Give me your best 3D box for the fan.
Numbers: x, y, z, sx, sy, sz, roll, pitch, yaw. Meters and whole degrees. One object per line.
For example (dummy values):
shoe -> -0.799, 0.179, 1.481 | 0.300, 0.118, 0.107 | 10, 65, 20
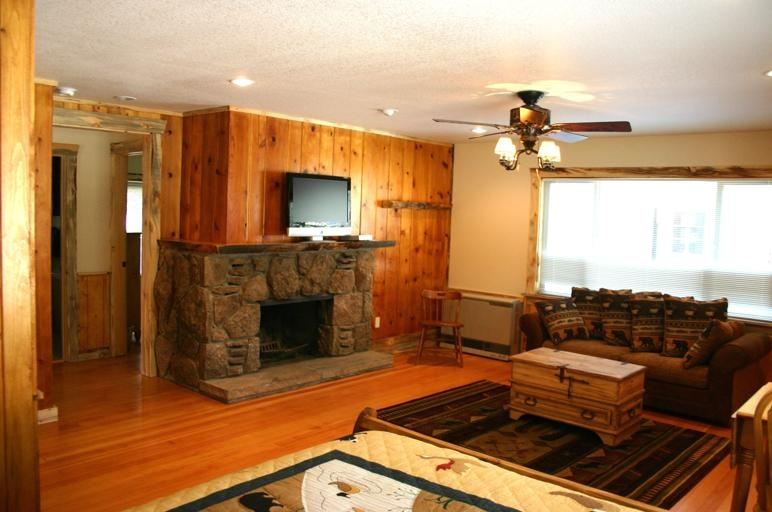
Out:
fan -> 1.330, -1.190, 4.702 | 1.546, 0.383, 1.591 | 7, 6, 22

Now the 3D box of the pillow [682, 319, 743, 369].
pillow -> 3.318, 0.907, 5.450 | 0.608, 0.369, 0.293 | 7, 5, -40

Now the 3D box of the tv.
tv -> -0.807, -0.591, 6.314 | 0.166, 0.734, 1.123 | 7, 7, 32

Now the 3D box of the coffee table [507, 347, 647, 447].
coffee table -> 2.015, 1.409, 5.263 | 0.880, 0.630, 1.320 | 11, -8, -31

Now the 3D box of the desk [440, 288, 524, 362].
desk -> 1.120, 0.980, 7.512 | 1.304, 0.855, 0.411 | 17, -20, -32
